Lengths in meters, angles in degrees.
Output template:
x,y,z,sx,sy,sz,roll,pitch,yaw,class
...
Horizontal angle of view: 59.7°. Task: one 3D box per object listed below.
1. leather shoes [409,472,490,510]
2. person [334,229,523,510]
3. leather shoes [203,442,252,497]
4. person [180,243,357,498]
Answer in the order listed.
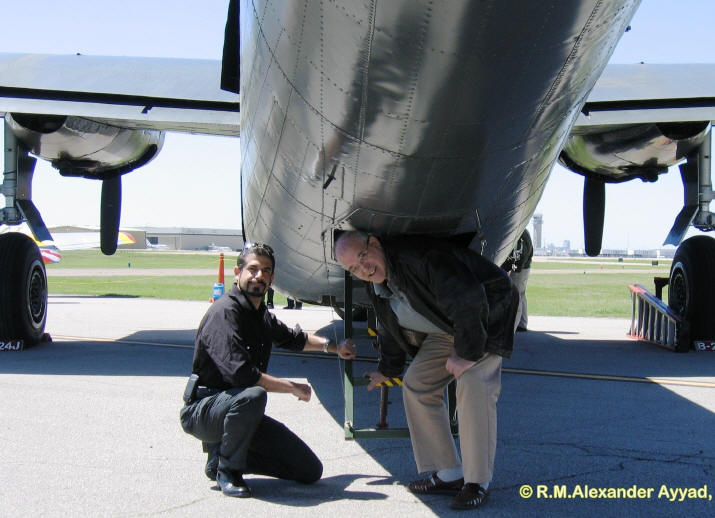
x,y,z,sx,sy,sz,roll,pitch,yaw,class
0.678,1.675,4.549,0.544,0.228,0.204,5,3,10,leather shoes
0.573,0.766,4.586,1.156,1.953,0.634,2,4,23,person
-0.974,1.589,4.752,0.174,0.261,0.552,5,2,-36,leather shoes
-0.724,1.033,5.590,1.097,2.041,1.573,-14,-17,31,person
